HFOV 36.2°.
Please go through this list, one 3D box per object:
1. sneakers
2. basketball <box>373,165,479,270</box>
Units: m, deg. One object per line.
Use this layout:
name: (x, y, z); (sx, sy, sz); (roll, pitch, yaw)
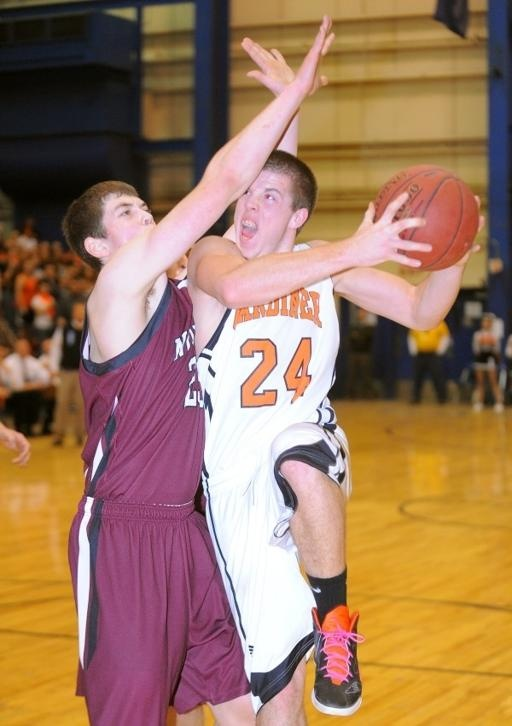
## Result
sneakers: (0.133, 0.585, 1.534); (0.097, 0.109, 0.239); (-1, 2, -1)
basketball: (0.342, -0.296, 1.579); (0.203, 0.210, 0.128); (-2, 2, 11)
